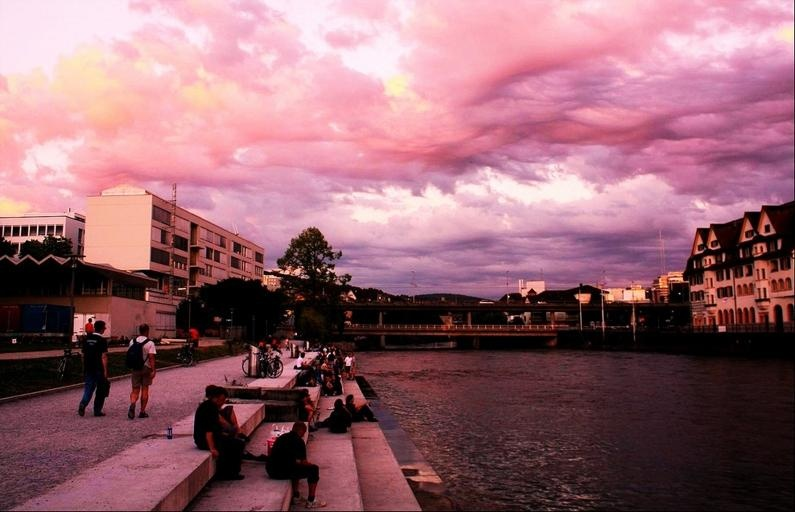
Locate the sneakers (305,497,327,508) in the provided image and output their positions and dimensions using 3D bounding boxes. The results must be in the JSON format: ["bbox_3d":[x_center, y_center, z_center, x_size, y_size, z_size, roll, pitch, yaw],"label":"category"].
[{"bbox_3d":[-2.362,7.158,17.117,0.528,0.199,0.236,1,-4,-5],"label":"sneakers"}]

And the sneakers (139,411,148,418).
[{"bbox_3d":[-9.522,5.968,22.299,0.201,0.228,0.389,2,0,4],"label":"sneakers"}]

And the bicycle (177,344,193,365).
[{"bbox_3d":[-15.683,7.350,44.029,1.508,1.451,0.850,-10,-14,42],"label":"bicycle"}]
